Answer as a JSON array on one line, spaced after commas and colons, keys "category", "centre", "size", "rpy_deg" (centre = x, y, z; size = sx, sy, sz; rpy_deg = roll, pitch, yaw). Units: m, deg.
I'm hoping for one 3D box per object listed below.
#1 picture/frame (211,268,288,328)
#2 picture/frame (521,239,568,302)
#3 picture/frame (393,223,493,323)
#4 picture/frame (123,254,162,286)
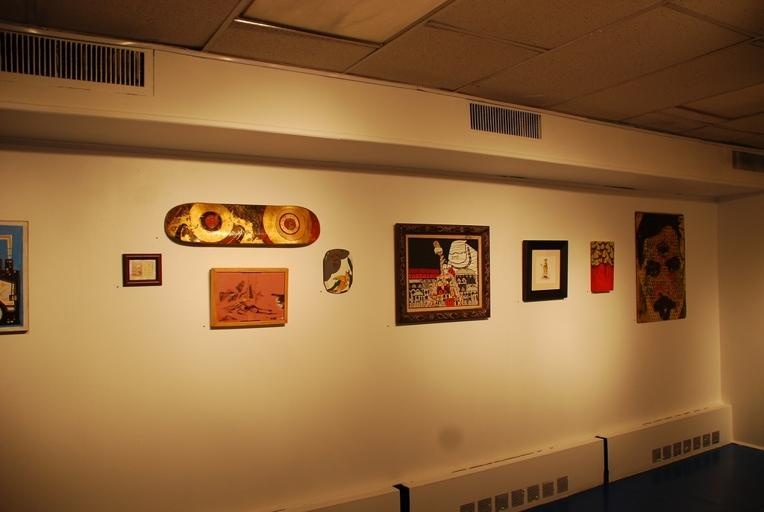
[{"category": "picture/frame", "centre": [-1.093, 0.333, 4.489], "size": [0.477, 0.393, 0.031], "rpy_deg": [-1, 1, -20]}, {"category": "picture/frame", "centre": [1.594, 0.142, 5.608], "size": [0.617, 0.681, 0.076], "rpy_deg": [1, -2, -28]}, {"category": "picture/frame", "centre": [0.510, 0.157, 5.109], "size": [0.921, 0.875, 0.083], "rpy_deg": [0, 0, -17]}, {"category": "picture/frame", "centre": [-1.832, 0.104, 4.259], "size": [0.239, 0.244, 0.023], "rpy_deg": [0, -3, -25]}]
